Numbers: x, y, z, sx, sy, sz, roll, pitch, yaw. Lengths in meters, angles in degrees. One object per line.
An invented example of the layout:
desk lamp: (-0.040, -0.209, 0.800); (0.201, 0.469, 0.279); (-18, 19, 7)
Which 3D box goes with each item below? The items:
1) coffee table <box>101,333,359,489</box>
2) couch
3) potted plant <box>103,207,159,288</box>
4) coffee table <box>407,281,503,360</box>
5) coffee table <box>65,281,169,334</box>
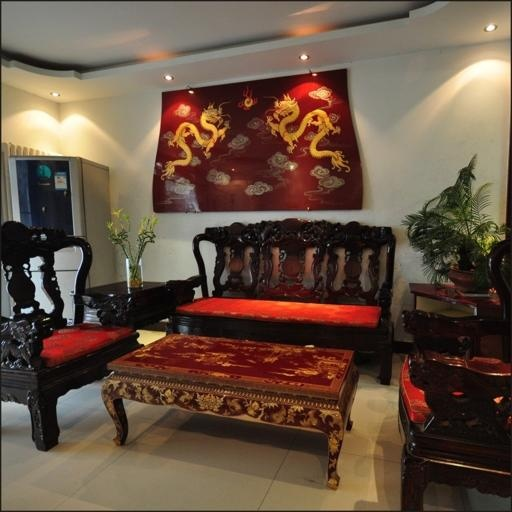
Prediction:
coffee table: (-0.124, 0.783, 2.196); (1.255, 0.453, 0.536); (1, 7, 18)
couch: (0.189, 0.334, 3.508); (1.920, 1.134, 0.731); (1, 10, 26)
potted plant: (-1.192, -0.080, 4.110); (0.662, 0.804, 0.732); (-4, 10, -41)
coffee table: (1.184, 0.376, 2.362); (0.290, 0.541, 0.631); (0, 5, -5)
coffee table: (-1.004, 0.396, 3.319); (0.405, 0.229, 0.557); (-2, 4, 28)
